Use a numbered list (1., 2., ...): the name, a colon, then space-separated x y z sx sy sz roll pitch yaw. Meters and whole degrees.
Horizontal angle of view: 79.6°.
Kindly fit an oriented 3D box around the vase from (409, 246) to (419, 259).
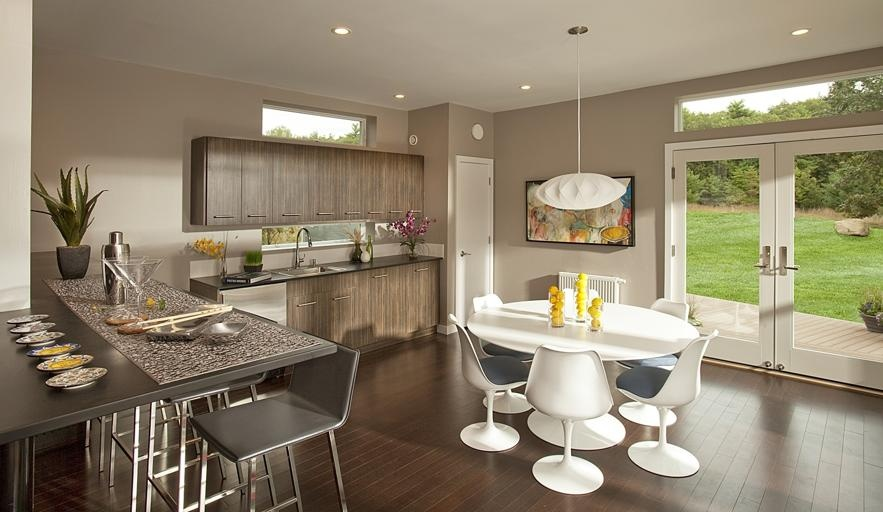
1. vase: -0.426 -0.042 7.871 0.172 0.180 0.166 1 -4 -3

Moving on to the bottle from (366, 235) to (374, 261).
1. bottle: -1.026 -0.114 7.585 0.102 0.336 0.345 -4 7 -6

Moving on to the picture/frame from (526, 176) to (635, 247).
1. picture/frame: 1.778 -0.527 6.555 1.093 0.648 0.036 0 0 39

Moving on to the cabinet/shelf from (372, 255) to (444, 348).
1. cabinet/shelf: -0.502 0.654 7.367 1.263 1.008 0.471 -3 6 -38

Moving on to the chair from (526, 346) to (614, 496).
1. chair: 1.091 1.384 4.596 0.697 1.301 0.337 -2 8 9

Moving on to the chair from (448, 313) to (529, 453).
1. chair: 0.490 1.269 5.628 1.218 1.487 1.078 0 3 4

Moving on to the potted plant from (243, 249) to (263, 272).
1. potted plant: -2.325 0.061 6.582 0.288 0.289 0.244 -1 -2 34

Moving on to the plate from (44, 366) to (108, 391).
1. plate: -2.308 0.778 3.355 0.314 0.094 0.169 -2 7 6

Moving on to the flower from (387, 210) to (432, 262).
1. flower: -0.449 -0.317 7.907 0.725 0.803 0.699 -1 9 -14

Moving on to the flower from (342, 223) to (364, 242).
1. flower: -1.203 -0.322 7.478 0.324 0.286 0.236 -7 8 -27

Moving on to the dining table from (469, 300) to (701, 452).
1. dining table: 1.303 1.226 5.016 1.677 0.774 1.624 -1 -3 2

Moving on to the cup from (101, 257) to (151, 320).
1. cup: -2.384 0.255 4.215 0.474 0.499 0.477 3 4 0
